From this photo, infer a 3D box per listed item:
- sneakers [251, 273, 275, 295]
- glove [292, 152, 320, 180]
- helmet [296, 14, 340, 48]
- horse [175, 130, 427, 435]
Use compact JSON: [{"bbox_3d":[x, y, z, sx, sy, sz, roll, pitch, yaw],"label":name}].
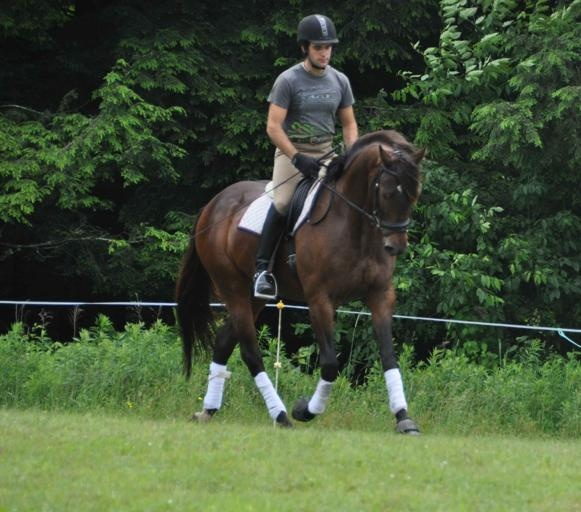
[{"bbox_3d":[-0.292,0.307,12.095,0.209,0.258,0.093,4,-12,-20],"label":"sneakers"},{"bbox_3d":[0.176,-0.978,11.928,0.286,0.115,0.215,39,25,6],"label":"glove"},{"bbox_3d":[0.273,-2.484,11.965,0.285,0.220,0.406,-4,11,-21],"label":"helmet"},{"bbox_3d":[0.095,0.361,12.565,1.164,3.434,4.520,-1,1,-38],"label":"horse"}]
